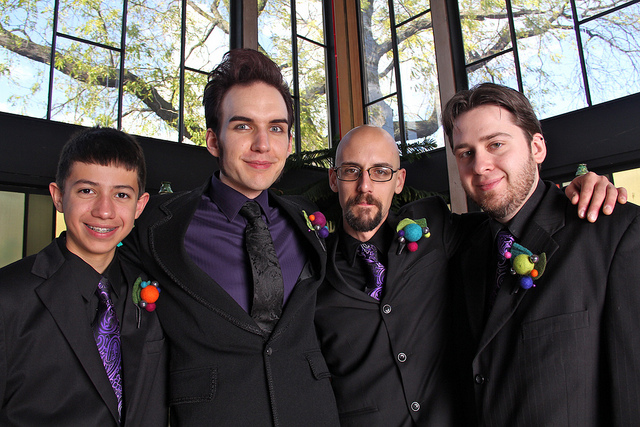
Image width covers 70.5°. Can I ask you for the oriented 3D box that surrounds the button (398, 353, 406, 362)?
[{"bbox_3d":[0.395,0.696,2.184,0.038,0.040,0.012,-1,2,-11],"label":"button"}]

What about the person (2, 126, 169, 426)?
[{"bbox_3d":[-1.007,0.278,1.980,0.637,1.315,0.430,-2,3,-20],"label":"person"}]

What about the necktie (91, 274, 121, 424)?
[{"bbox_3d":[-0.905,0.566,1.941,0.188,0.575,0.107,1,3,37],"label":"necktie"}]

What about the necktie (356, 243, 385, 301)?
[{"bbox_3d":[0.267,0.292,2.369,0.149,0.246,0.065,-9,-18,25],"label":"necktie"}]

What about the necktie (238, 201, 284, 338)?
[{"bbox_3d":[-0.272,0.243,2.112,0.189,0.593,0.259,-1,3,-13],"label":"necktie"}]

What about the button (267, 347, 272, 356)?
[{"bbox_3d":[-0.219,0.602,1.973,0.007,0.033,0.023,2,4,44],"label":"button"}]

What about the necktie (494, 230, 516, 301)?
[{"bbox_3d":[0.860,0.209,2.083,0.070,0.374,0.052,4,-18,32],"label":"necktie"}]
